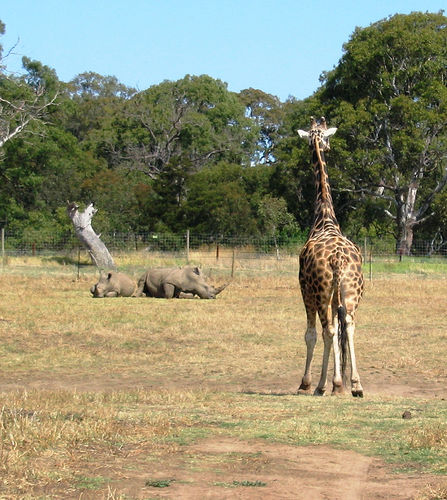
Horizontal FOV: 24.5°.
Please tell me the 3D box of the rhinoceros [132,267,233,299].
[{"bbox_3d":[-1.147,0.819,28.102,2.541,1.005,1.031,2,1,1],"label":"rhinoceros"}]
